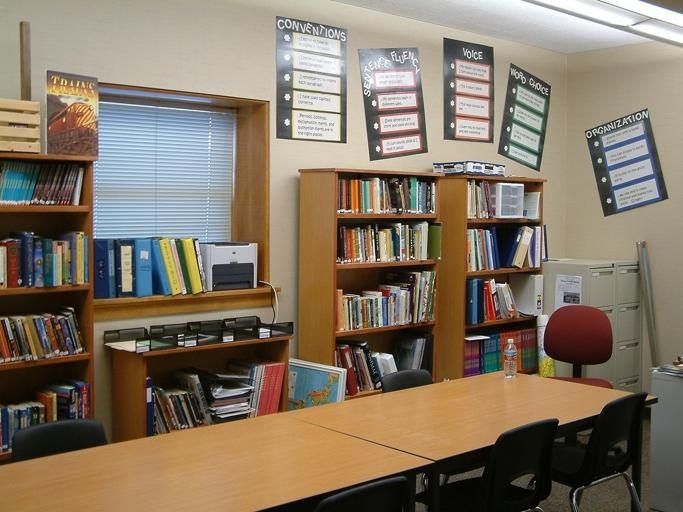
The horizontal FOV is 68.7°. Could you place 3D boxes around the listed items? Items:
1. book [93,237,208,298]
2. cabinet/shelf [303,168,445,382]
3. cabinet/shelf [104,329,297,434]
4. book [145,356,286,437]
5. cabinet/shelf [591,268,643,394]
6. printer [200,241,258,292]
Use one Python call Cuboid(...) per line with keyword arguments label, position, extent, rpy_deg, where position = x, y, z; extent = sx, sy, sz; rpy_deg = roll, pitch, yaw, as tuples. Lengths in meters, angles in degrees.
Cuboid(label="book", position=(-1.358, 0.083, 3.571), extent=(0.732, 0.409, 0.158), rpy_deg=(0, 0, -26))
Cuboid(label="cabinet/shelf", position=(0.259, 0.147, 4.441), extent=(1.283, 1.798, 0.469), rpy_deg=(0, 0, -32))
Cuboid(label="cabinet/shelf", position=(-1.100, 0.860, 4.082), extent=(1.445, 0.610, 1.700), rpy_deg=(-4, -2, 43))
Cuboid(label="book", position=(-0.981, 0.904, 4.038), extent=(1.160, 0.382, 1.001), rpy_deg=(0, 26, -16))
Cuboid(label="cabinet/shelf", position=(2.948, 0.794, 5.591), extent=(0.507, 1.571, 0.359), rpy_deg=(-3, 5, -4))
Cuboid(label="printer", position=(-0.917, 0.070, 4.001), extent=(0.412, 0.351, 0.340), rpy_deg=(-1, 4, -28))
